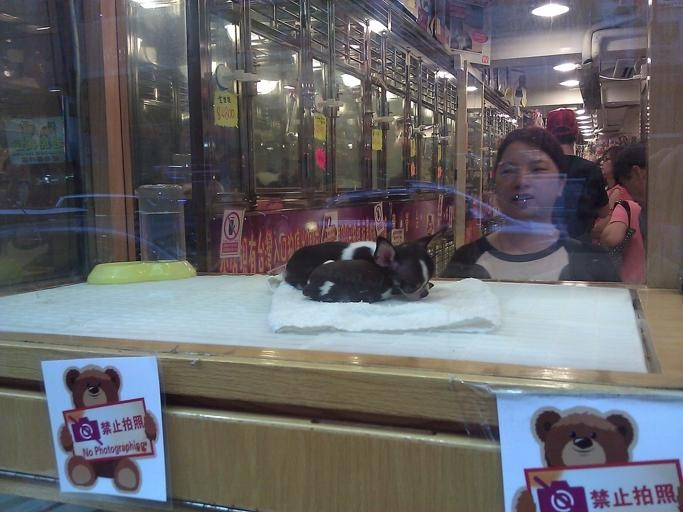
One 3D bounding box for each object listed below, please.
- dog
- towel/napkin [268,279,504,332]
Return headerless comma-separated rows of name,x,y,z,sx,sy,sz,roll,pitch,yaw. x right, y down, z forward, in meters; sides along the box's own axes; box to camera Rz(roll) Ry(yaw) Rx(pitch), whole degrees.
dog,0.026,-0.004,1.049,0.249,0.128,0.141,4,12,7
towel/napkin,0.085,0.081,0.974,0.443,0.022,0.305,-2,11,-2
